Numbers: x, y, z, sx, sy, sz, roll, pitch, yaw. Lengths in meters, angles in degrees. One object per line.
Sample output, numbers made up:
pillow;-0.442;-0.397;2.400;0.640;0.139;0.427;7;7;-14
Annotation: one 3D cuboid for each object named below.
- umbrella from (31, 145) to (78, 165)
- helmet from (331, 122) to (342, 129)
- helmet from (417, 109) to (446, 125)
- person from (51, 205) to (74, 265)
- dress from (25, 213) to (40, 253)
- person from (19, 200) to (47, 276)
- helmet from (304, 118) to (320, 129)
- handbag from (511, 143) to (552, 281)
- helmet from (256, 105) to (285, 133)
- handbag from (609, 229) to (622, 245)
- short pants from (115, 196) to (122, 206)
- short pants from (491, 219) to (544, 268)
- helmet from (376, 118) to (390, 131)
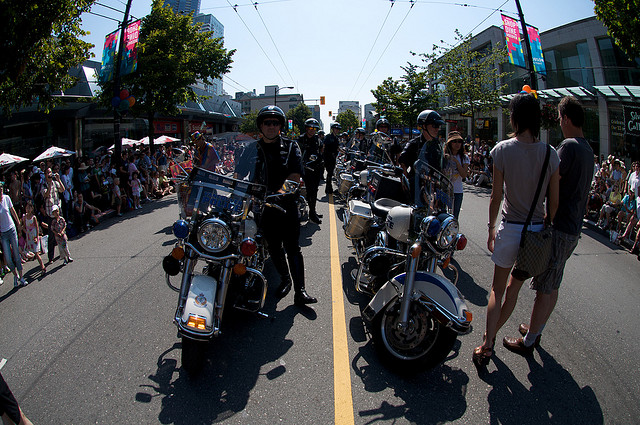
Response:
umbrella;-10.113;-1.982;14.945;1.124;0.631;1.233;-3;32;31
helmet;0.620;-3.211;14.442;0.265;0.164;0.207;-5;10;-7
helmet;1.680;-1.431;5.915;0.333;0.194;0.247;8;21;30
person;-5.643;0.477;8.535;0.306;1.084;0.900;-9;15;-35
dress;-6.307;0.453;8.572;0.227;0.756;0.627;-9;15;-37
person;-6.232;0.476;8.461;0.276;1.250;1.428;-9;15;-37
helmet;-0.241;-2.600;11.443;0.387;0.367;0.300;9;14;42
handbag;2.663;0.032;4.808;0.462;1.662;0.271;-7;13;-28
helmet;-0.770;-1.457;6.114;0.446;0.422;0.489;-2;13;-9
handbag;7.158;0.596;9.520;0.246;0.141;0.365;-13;36;-12
short pants;-6.651;-0.391;12.916;0.195;0.254;0.213;1;-8;-10
short pants;2.478;0.385;4.846;0.387;0.601;0.318;11;9;6
helmet;1.413;-1.954;8.743;0.205;0.261;0.293;-3;10;-1
